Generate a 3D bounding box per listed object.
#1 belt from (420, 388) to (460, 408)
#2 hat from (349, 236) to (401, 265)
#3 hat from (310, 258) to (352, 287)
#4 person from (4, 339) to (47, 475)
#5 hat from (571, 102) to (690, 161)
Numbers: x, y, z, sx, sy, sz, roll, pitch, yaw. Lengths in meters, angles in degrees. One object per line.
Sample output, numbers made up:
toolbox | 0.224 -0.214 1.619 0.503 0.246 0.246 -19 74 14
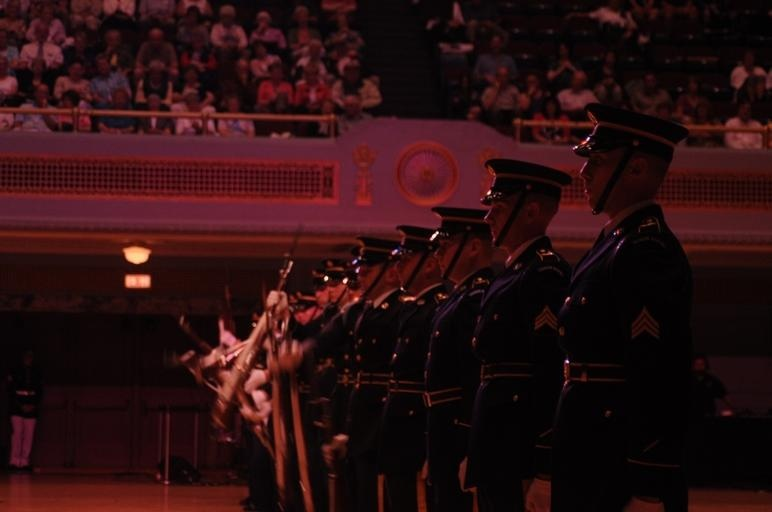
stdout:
belt | 0.597 1.510 15.241 0.306 0.102 0.205 -10 -5 9
hat | -0.147 -0.068 16.914 0.576 0.191 0.381 -1 -34 -4
hat | -0.683 0.256 18.650 0.430 0.173 0.447 4 -18 6
person | -5.599 2.398 22.226 0.512 1.832 0.377 2 -9 -3
hat | 2.450 -1.191 14.247 0.862 0.284 0.648 7 1 4
